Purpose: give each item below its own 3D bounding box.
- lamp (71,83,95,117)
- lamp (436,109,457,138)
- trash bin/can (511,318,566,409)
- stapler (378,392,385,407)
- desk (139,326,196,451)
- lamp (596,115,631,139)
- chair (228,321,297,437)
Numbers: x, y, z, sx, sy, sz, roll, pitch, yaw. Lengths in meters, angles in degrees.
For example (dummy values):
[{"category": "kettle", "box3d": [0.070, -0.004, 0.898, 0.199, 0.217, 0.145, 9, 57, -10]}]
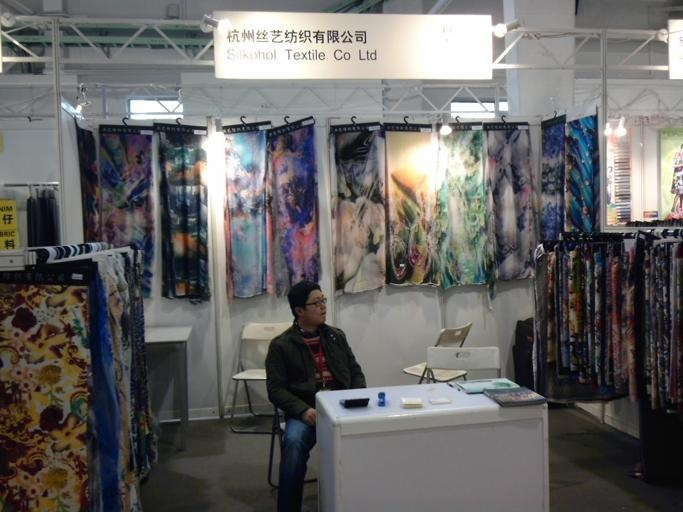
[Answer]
[{"category": "lamp", "box3d": [-3.581, -2.186, 9.864, 0.248, 0.450, 3.447, -5, 12, -19]}, {"category": "lamp", "box3d": [1.062, -1.285, 7.189, 0.196, 0.166, 0.351, -1, 11, 5]}, {"category": "trash bin/can", "box3d": [1.943, 1.063, 7.393, 0.329, 0.764, 0.452, 8, 2, 27]}, {"category": "stapler", "box3d": [0.269, 0.925, 4.625, 0.047, 0.103, 0.097, -2, 0, 10]}, {"category": "desk", "box3d": [-1.651, 1.239, 6.547, 0.533, 0.997, 0.712, -1, -1, -11]}, {"category": "lamp", "box3d": [3.323, -1.535, 8.476, 0.215, 0.252, 0.509, 0, 11, 9]}, {"category": "chair", "box3d": [-0.739, 1.155, 6.773, 0.575, 1.064, 0.626, 2, -4, -12]}]
